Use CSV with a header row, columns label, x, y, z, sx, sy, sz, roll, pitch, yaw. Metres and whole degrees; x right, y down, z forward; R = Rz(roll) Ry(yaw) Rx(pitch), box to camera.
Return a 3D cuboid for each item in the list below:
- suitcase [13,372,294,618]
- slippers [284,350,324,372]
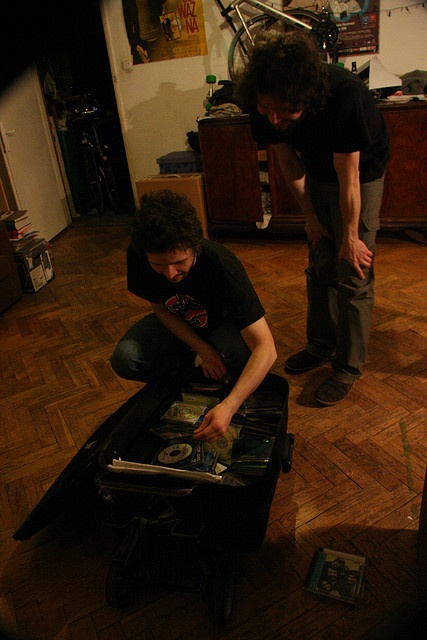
label,x,y,z,sx,sy,sz,roll,pitch,yaw
suitcase,-0.208,0.629,1.511,0.752,0.387,0.759,6,35,12
slippers,0.445,0.217,2.381,0.238,0.099,0.087,-11,63,-8
